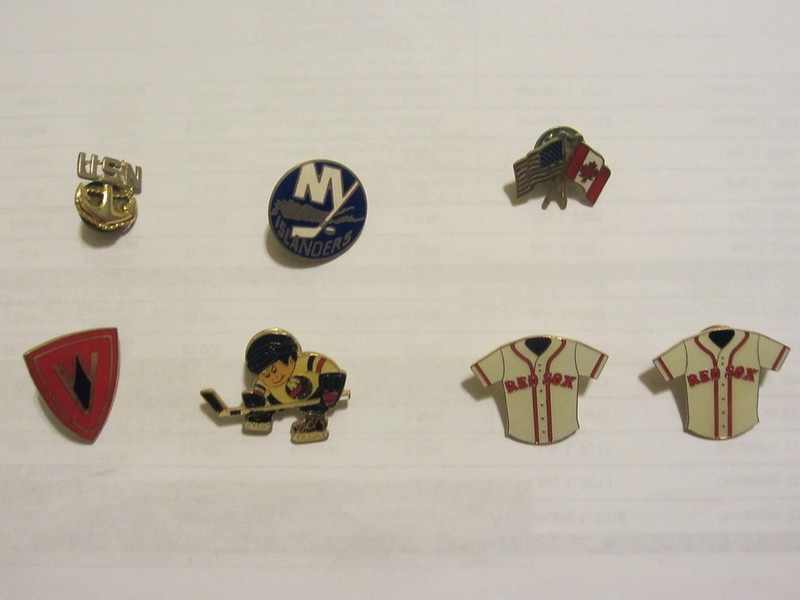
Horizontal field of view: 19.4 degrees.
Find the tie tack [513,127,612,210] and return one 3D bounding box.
[{"bbox_3d":[0.630,-0.492,9.079,0.361,0.338,0.031,4,-15,5],"label":"tie tack"}]

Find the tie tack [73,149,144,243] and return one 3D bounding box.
[{"bbox_3d":[-1.127,-0.423,9.104,0.256,0.230,0.287,9,-41,-7],"label":"tie tack"}]

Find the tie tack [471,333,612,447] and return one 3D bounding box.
[{"bbox_3d":[0.528,0.342,9.084,0.400,0.335,0.048,-2,0,1],"label":"tie tack"}]

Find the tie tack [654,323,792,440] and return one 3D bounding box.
[{"bbox_3d":[1.234,0.307,9.095,0.398,0.373,0.055,-3,0,3],"label":"tie tack"}]
